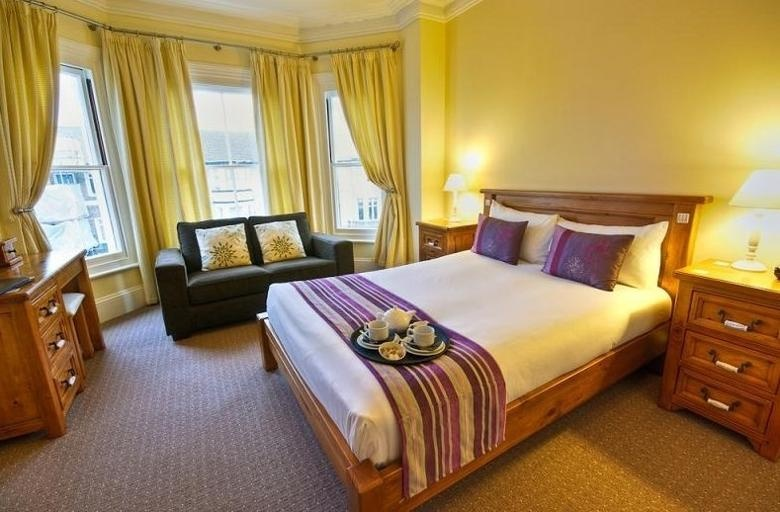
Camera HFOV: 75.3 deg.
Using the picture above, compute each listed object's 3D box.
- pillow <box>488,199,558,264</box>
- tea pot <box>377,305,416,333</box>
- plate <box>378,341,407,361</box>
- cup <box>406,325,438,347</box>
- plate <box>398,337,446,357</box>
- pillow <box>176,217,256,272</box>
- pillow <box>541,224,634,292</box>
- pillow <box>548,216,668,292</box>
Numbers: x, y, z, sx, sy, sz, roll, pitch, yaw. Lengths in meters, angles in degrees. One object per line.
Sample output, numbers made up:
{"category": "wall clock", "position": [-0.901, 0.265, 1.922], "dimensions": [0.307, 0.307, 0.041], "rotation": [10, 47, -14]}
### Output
{"category": "pillow", "position": [1.307, -0.217, 4.883], "dimensions": [0.231, 0.411, 0.633], "rotation": [-4, 13, -31]}
{"category": "tea pot", "position": [0.049, 0.471, 3.806], "dimensions": [0.253, 0.155, 0.168], "rotation": [-5, 10, -13]}
{"category": "plate", "position": [0.024, 0.680, 3.585], "dimensions": [0.191, 0.093, 0.158], "rotation": [-3, 13, -17]}
{"category": "cup", "position": [0.229, 0.575, 3.661], "dimensions": [0.197, 0.111, 0.144], "rotation": [1, 7, 29]}
{"category": "plate", "position": [0.248, 0.657, 3.613], "dimensions": [0.323, 0.081, 0.152], "rotation": [1, 12, 2]}
{"category": "pillow", "position": [-1.910, -0.146, 5.443], "dimensions": [0.688, 0.581, 0.195], "rotation": [-10, -13, -9]}
{"category": "pillow", "position": [1.689, 0.008, 4.318], "dimensions": [0.177, 0.525, 0.633], "rotation": [27, -6, -41]}
{"category": "pillow", "position": [1.895, 0.006, 4.315], "dimensions": [0.202, 0.369, 0.627], "rotation": [23, -2, -27]}
